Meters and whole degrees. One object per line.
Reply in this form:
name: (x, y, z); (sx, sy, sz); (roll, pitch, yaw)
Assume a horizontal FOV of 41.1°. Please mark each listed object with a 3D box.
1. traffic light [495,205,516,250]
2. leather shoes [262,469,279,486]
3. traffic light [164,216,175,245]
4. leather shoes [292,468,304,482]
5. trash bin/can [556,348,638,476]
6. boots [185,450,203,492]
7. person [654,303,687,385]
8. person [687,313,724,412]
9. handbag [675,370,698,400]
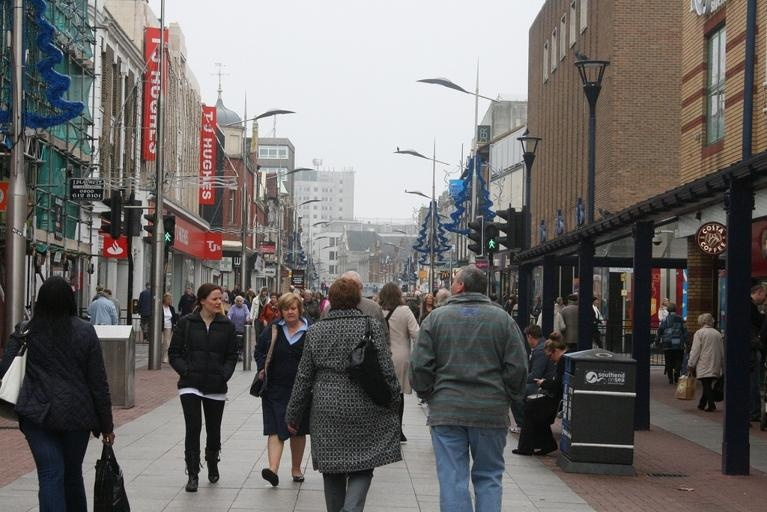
traffic light: (3.202, -0.729, 26.608); (0.562, 1.128, 2.018); (3, -5, 6)
leather shoes: (-1.581, 3.065, 14.277); (0.240, 0.242, 0.313); (4, -5, -7)
traffic light: (-5.925, -0.742, 28.153); (0.245, 0.837, 0.640); (3, -4, -1)
leather shoes: (-1.235, 3.118, 14.584); (0.156, 0.124, 0.315); (2, -2, -6)
trash bin/can: (3.275, 2.366, 15.634); (1.132, 1.870, 0.506); (2, -4, 10)
boots: (-2.629, 2.924, 14.025); (0.201, 0.540, 0.363); (4, -4, -10)
person: (7.397, 2.255, 26.275); (0.776, 2.011, 1.088); (2, -4, 15)
person: (6.632, 2.172, 21.077); (0.721, 1.993, 0.685); (7, -12, -17)
handbag: (6.014, 2.577, 20.390); (0.360, 0.520, 0.684); (2, -5, 15)
